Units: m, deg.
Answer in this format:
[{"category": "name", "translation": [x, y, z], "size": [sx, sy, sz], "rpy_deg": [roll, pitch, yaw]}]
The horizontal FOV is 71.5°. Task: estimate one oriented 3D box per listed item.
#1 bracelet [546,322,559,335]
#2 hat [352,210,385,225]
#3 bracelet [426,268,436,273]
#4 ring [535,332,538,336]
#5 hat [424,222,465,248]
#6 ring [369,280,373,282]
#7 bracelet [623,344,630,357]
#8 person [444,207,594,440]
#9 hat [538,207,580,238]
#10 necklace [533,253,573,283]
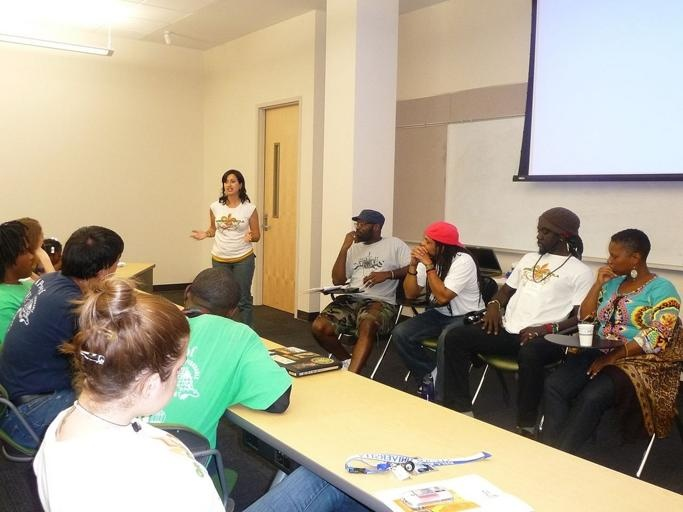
[{"category": "bracelet", "translation": [1.367, 0.469, 3.079], "size": [0.055, 0.028, 0.075], "rpy_deg": [4, 10, 28]}, {"category": "hat", "translation": [0.258, -0.341, 4.213], "size": [0.216, 0.082, 0.154], "rpy_deg": [5, -1, -9]}, {"category": "bracelet", "translation": [0.690, 0.105, 3.599], "size": [0.087, 0.037, 0.044], "rpy_deg": [-5, 13, -27]}, {"category": "ring", "translation": [1.258, 0.501, 3.073], "size": [0.006, 0.022, 0.022], "rpy_deg": [1, 10, -44]}, {"category": "hat", "translation": [0.800, -0.182, 3.691], "size": [0.252, 0.136, 0.188], "rpy_deg": [6, 13, -26]}, {"category": "ring", "translation": [0.249, 0.207, 3.963], "size": [0.024, 0.011, 0.005], "rpy_deg": [-2, 12, -17]}, {"category": "bracelet", "translation": [1.625, 0.532, 2.707], "size": [0.028, 0.067, 0.019], "rpy_deg": [5, 12, 21]}, {"category": "person", "translation": [1.222, 0.457, 3.256], "size": [1.028, 1.643, 0.958], "rpy_deg": [5, 1, -12]}, {"category": "hat", "translation": [1.538, -0.249, 3.364], "size": [0.236, 0.199, 0.206], "rpy_deg": [11, 7, 28]}, {"category": "necklace", "translation": [1.443, 0.093, 3.294], "size": [0.031, 0.240, 0.154], "rpy_deg": [41, 1, -36]}]
